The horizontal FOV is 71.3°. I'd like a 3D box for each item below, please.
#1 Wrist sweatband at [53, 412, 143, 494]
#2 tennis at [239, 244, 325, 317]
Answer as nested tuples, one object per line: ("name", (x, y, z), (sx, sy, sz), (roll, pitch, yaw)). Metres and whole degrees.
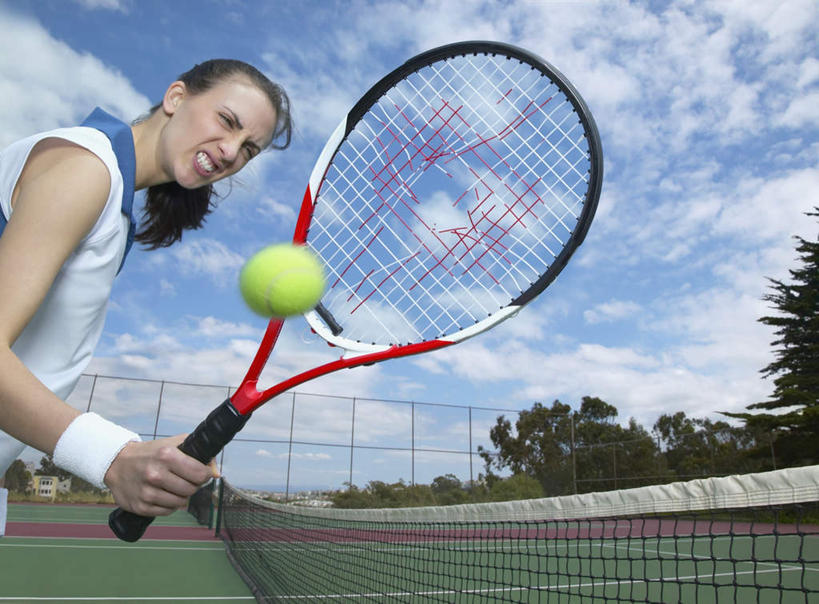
("Wrist sweatband", (-0.700, 0.331, 1.274), (0.168, 0.164, 0.109), (11, -17, -33))
("tennis", (-0.435, -0.109, 1.990), (0.236, 0.256, 0.251), (6, 7, -3))
